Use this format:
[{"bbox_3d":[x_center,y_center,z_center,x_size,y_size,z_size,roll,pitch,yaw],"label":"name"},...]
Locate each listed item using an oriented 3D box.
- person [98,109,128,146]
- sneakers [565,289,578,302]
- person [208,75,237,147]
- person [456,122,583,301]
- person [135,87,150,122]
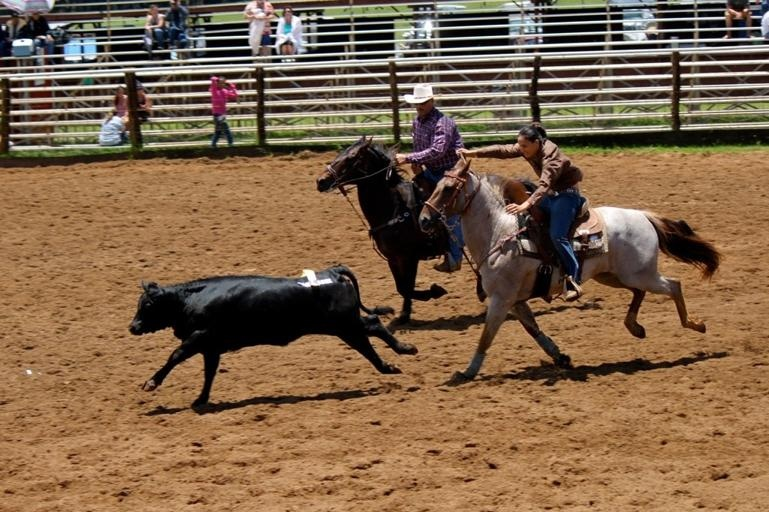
[{"bbox_3d":[-5.421,-2.564,19.999,0.564,0.601,0.192,-3,15,-14],"label":"person"},{"bbox_3d":[2.435,0.483,12.558,0.187,0.154,0.188,1,11,6],"label":"sneakers"},{"bbox_3d":[-3.152,-2.945,19.748,0.560,1.415,0.671,-2,15,-7],"label":"person"},{"bbox_3d":[1.973,-0.581,12.619,1.260,2.259,0.846,1,15,7],"label":"person"},{"bbox_3d":[-4.818,-3.160,20.049,0.276,0.762,0.404,-4,15,-11],"label":"person"}]
